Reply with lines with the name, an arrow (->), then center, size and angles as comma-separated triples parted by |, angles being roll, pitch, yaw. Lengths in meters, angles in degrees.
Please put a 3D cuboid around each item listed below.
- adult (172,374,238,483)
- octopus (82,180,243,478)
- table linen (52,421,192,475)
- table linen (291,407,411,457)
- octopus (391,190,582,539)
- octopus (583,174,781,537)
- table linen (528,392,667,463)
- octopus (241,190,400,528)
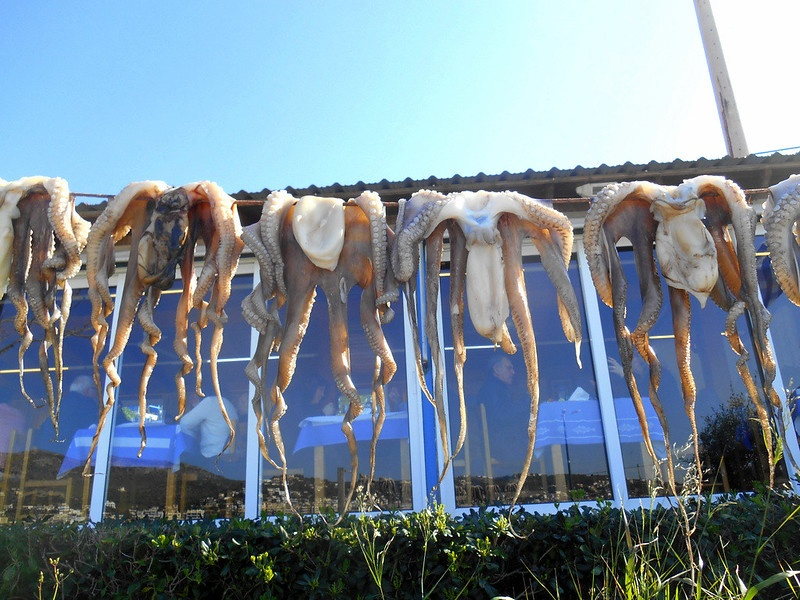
adult -> -2.784, 1.738, 9.498 | 0.989, 1.551, 0.816 | 5, -57, 4
octopus -> -1.847, 0.164, 4.967 | 1.130, 2.190, 1.695 | 8, -21, -27
table linen -> -3.786, 2.098, 8.984 | 1.085, 0.497, 1.194 | 1, -34, -8
table linen -> -0.740, 1.840, 9.087 | 1.123, 0.335, 1.210 | -3, -17, -13
octopus -> 0.641, 0.227, 4.716 | 1.373, 2.292, 0.412 | -3, -18, 1
octopus -> 2.161, 0.157, 4.774 | 1.353, 2.441, 1.053 | 15, -25, -42
table linen -> 2.860, 1.830, 9.329 | 1.533, 0.739, 1.476 | 2, -4, -44
octopus -> -0.582, 0.269, 4.810 | 1.172, 2.523, 0.533 | -2, -18, 0
